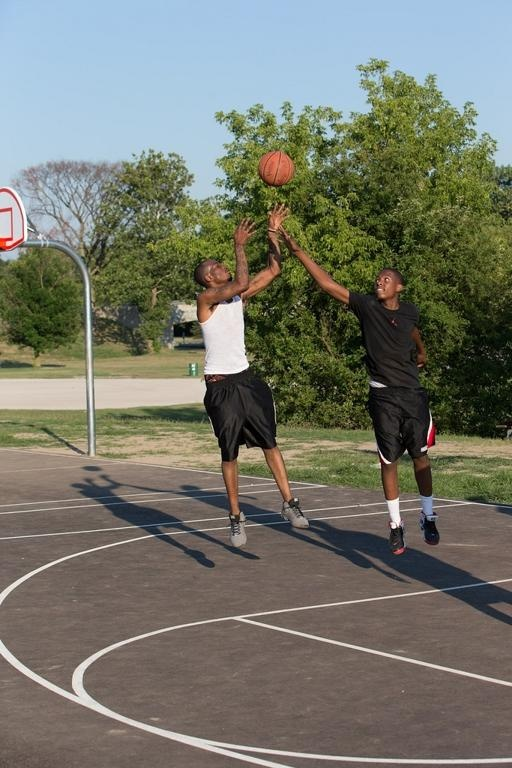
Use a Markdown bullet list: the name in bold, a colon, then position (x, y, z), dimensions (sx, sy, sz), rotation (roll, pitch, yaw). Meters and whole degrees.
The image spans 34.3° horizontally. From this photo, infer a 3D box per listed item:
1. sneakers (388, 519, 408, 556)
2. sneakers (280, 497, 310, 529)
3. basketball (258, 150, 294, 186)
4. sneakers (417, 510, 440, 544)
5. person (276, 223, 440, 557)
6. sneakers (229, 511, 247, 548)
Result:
- **sneakers**: position (1.067, 1.189, 6.292), dimensions (0.101, 0.243, 0.224), rotation (0, 1, 6)
- **sneakers**: position (0.374, 1.094, 7.082), dimensions (0.156, 0.169, 0.376), rotation (-9, 15, -27)
- **basketball**: position (0.243, -2.082, 8.080), dimensions (0.409, 0.359, 0.374), rotation (0, -17, 3)
- **sneakers**: position (1.379, 1.118, 6.471), dimensions (0.118, 0.130, 0.308), rotation (-3, 24, -6)
- **person**: position (0.938, 0.179, 6.482), dimensions (0.963, 2.275, 0.620), rotation (0, 1, 2)
- **sneakers**: position (-0.140, 1.175, 6.664), dimensions (0.141, 0.274, 0.137), rotation (-6, -3, 18)
